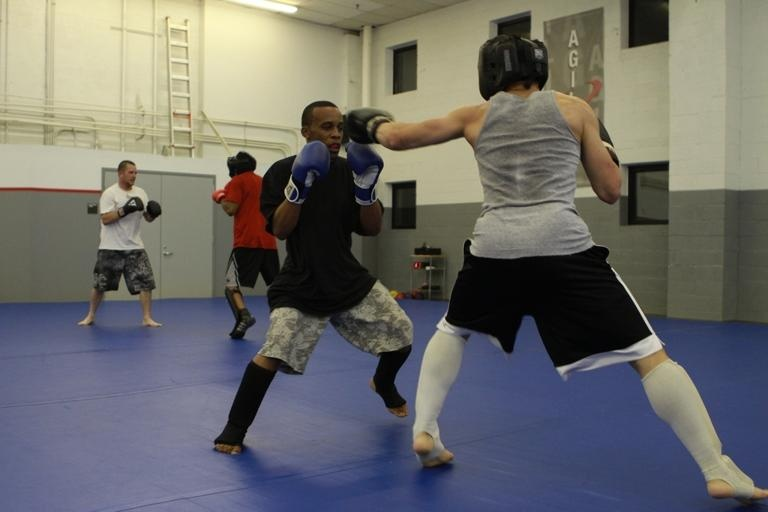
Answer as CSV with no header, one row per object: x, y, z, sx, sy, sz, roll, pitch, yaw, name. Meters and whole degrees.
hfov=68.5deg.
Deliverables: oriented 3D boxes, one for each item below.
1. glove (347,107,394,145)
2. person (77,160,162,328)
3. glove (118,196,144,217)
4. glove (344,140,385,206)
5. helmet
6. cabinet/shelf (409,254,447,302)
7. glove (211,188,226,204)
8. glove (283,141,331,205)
-0.101,-0.686,2.924,0.187,0.094,0.214,-3,1,-32,glove
-3.080,-0.159,6.711,0.874,1.983,0.651,2,3,34,person
-2.883,-0.565,6.453,0.243,0.223,0.248,-1,3,-25,glove
-0.106,-0.475,3.253,0.173,0.356,0.197,-24,51,-38,glove
0.587,-0.887,2.751,0.278,0.331,0.337,-3,9,-41,helmet
0.899,0.438,11.273,0.845,1.395,0.406,3,5,41,cabinet/shelf
-1.865,-0.661,6.387,0.102,0.213,0.282,9,-17,-28,glove
-0.417,-0.458,3.054,0.226,0.351,0.127,0,3,-9,glove
